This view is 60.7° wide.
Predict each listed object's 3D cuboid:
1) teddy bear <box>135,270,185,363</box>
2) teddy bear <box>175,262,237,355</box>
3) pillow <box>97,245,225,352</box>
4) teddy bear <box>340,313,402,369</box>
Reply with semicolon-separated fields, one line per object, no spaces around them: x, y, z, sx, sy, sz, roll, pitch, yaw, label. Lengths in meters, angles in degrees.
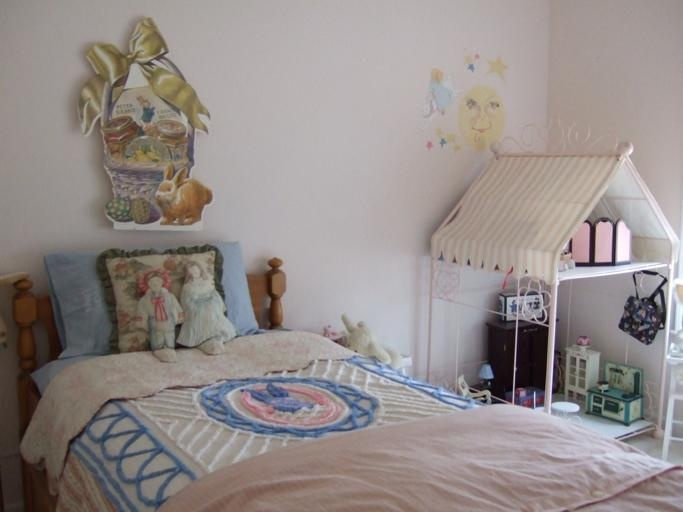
-0.918;0.263;2.878;0.206;0.342;0.178;11;17;37;teddy bear
-0.709;0.256;2.969;0.308;0.447;0.302;-12;19;-31;teddy bear
-1.108;0.258;3.060;0.518;0.531;0.145;-2;-8;-34;pillow
0.190;0.568;3.527;0.314;0.134;0.319;37;15;-44;teddy bear
